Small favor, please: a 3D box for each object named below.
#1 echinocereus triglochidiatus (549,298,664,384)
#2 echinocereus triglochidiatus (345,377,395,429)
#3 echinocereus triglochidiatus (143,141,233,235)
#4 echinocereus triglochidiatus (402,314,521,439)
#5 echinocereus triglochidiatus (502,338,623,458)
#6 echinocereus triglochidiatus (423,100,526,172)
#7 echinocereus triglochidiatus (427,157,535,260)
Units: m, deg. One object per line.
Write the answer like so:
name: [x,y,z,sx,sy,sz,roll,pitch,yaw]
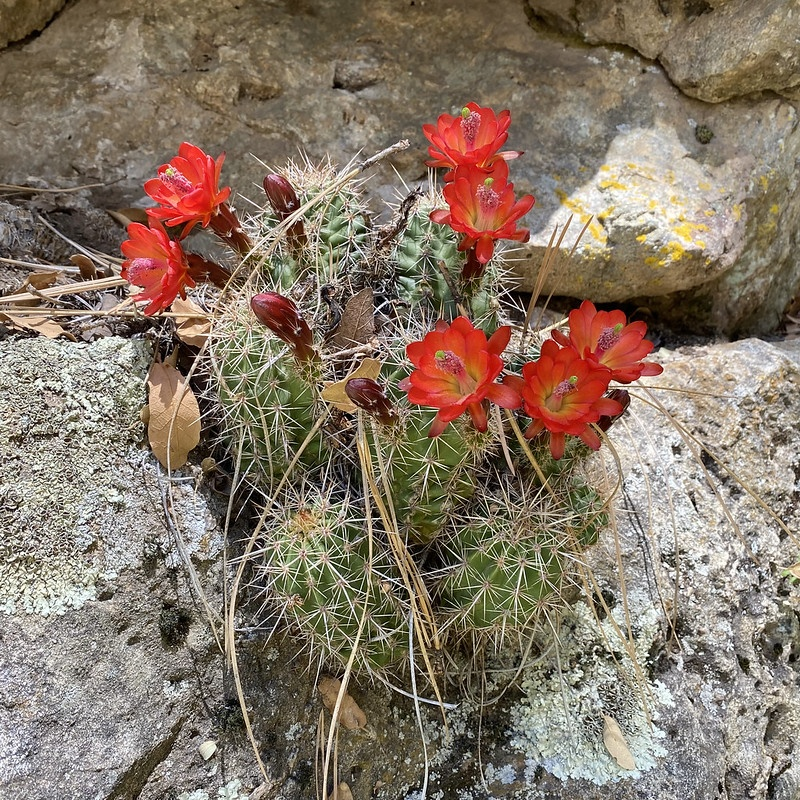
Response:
echinocereus triglochidiatus: [0.515,-0.138,1.995,0.241,0.220,0.136,16,106,-9]
echinocereus triglochidiatus: [-0.070,0.004,1.910,0.056,0.196,0.069,14,80,21]
echinocereus triglochidiatus: [-0.539,-0.536,2.113,0.213,0.171,0.249,9,69,11]
echinocereus triglochidiatus: [0.133,-0.060,1.865,0.266,0.202,0.265,-6,79,4]
echinocereus triglochidiatus: [0.390,0.009,1.970,0.240,0.156,0.300,20,81,-1]
echinocereus triglochidiatus: [0.193,-0.684,2.094,0.217,0.167,0.203,-27,42,-23]
echinocereus triglochidiatus: [0.223,-0.485,2.080,0.271,0.260,0.154,9,106,25]
